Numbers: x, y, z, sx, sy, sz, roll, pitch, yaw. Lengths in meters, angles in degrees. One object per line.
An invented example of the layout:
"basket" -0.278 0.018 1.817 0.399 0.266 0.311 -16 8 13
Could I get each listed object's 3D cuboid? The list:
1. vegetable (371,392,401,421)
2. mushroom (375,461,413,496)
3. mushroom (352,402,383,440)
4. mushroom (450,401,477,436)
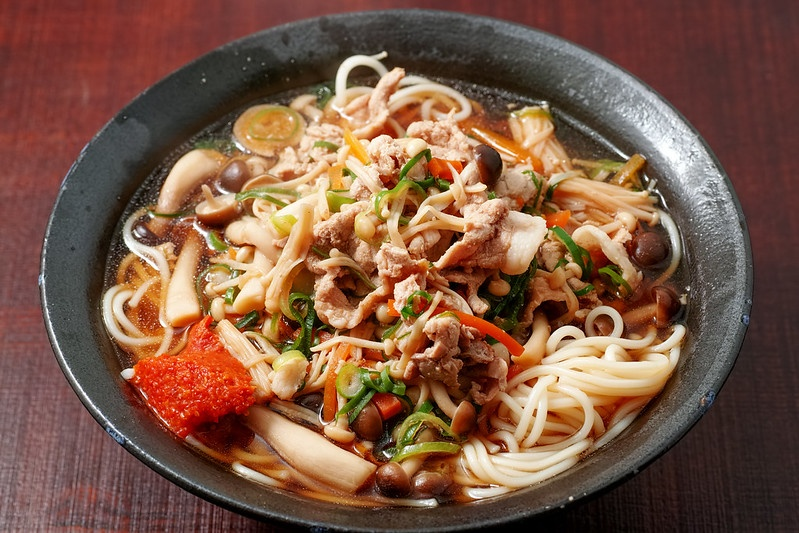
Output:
"vegetable" -0.079 0.941 4.860 0.197 0.133 0.183 3 66 -14
"mushroom" -0.033 1.398 4.641 0.190 0.218 0.157 7 95 -10
"mushroom" -0.194 1.070 4.814 0.213 0.083 0.230 37 87 3
"mushroom" 0.427 1.023 4.800 0.189 0.050 0.215 9 94 -33
